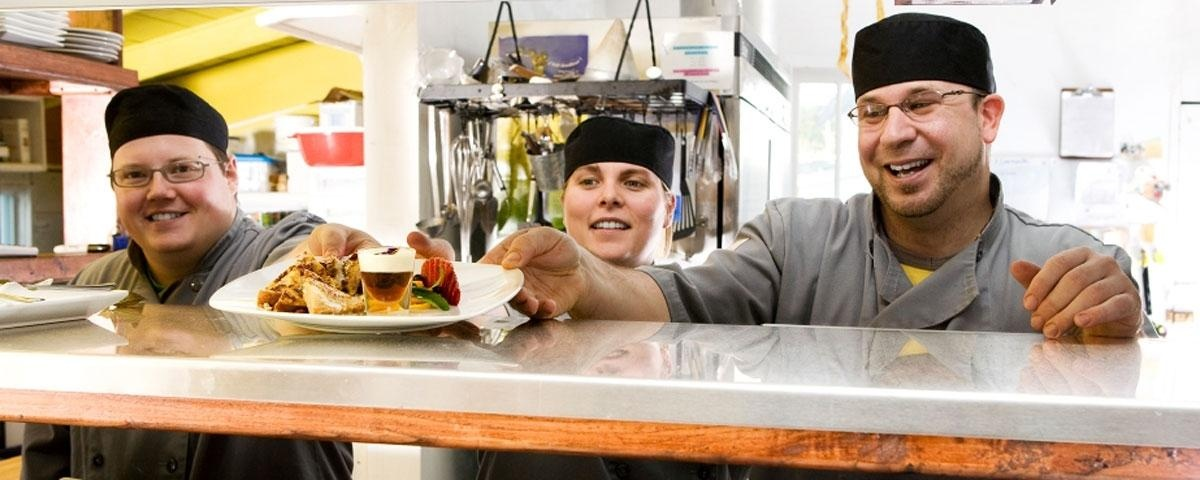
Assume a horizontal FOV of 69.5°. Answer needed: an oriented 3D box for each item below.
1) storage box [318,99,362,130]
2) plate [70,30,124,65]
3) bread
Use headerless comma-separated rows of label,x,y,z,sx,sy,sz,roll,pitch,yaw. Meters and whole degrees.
storage box,-2.339,-1.181,8.168,0.471,0.244,0.281,-1,-2,20
plate,-3.877,-1.599,7.125,0.347,0.111,0.299,6,2,-2
bread,-1.693,0.305,5.347,0.535,0.160,0.408,5,41,-11
